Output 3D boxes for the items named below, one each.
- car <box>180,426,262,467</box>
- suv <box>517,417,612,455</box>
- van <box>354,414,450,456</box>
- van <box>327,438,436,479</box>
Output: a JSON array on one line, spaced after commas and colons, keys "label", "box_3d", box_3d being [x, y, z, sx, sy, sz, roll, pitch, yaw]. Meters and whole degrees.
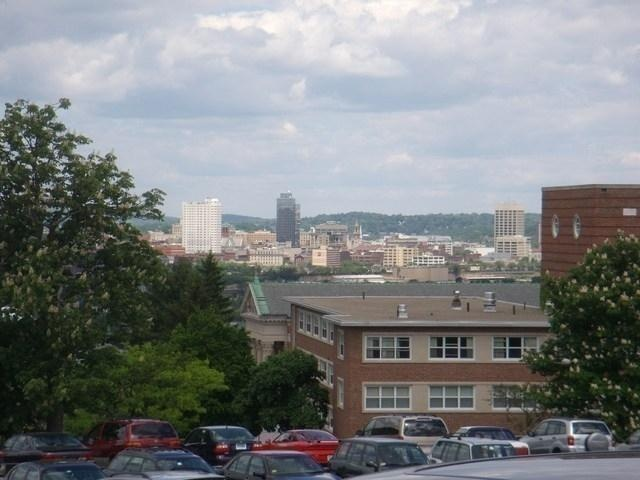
[{"label": "car", "box_3d": [-5.926, 11.967, 101.495, 3.675, 2.221, 3.765, 2, -10, -18]}, {"label": "suv", "box_3d": [13.420, 11.159, 100.717, 2.682, 1.964, 4.762, 2, 0, -25]}, {"label": "van", "box_3d": [5.249, 11.641, 103.894, 4.729, 2.432, 4.238, 3, -10, -20]}, {"label": "van", "box_3d": [2.570, 11.482, 93.561, 2.605, 1.948, 4.492, 2, -9, -40]}]
